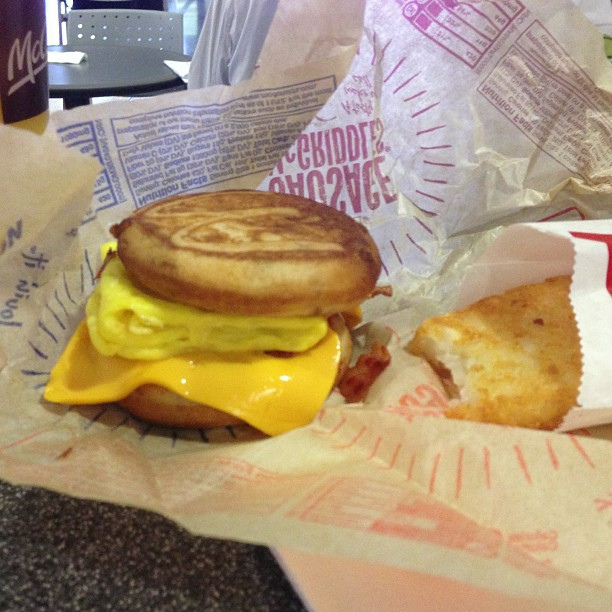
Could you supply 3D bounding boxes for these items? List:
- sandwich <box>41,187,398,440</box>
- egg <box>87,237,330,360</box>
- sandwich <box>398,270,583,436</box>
[{"bbox_3d":[-0.091,-0.064,0.987,0.535,0.203,0.485,-25,44,-38],"label":"sandwich"},{"bbox_3d":[-0.133,-0.007,0.833,0.241,0.054,0.186,1,39,-5],"label":"egg"},{"bbox_3d":[0.296,0.052,0.976,0.252,0.057,0.310,15,42,18],"label":"sandwich"}]
